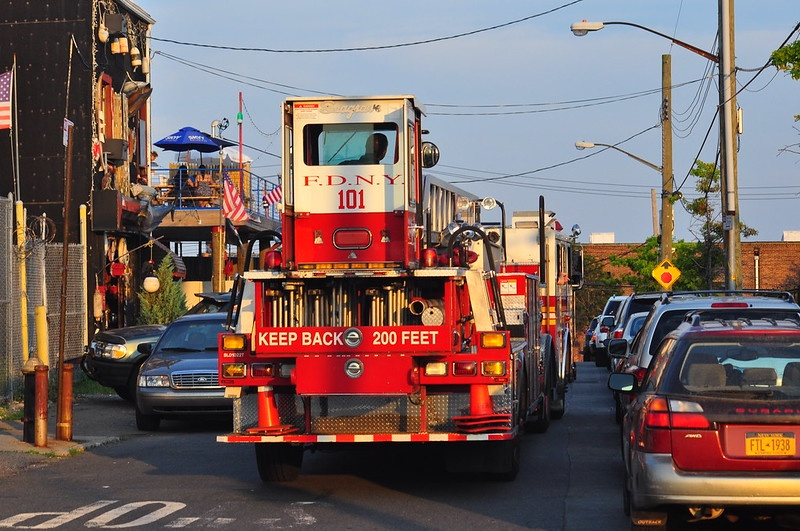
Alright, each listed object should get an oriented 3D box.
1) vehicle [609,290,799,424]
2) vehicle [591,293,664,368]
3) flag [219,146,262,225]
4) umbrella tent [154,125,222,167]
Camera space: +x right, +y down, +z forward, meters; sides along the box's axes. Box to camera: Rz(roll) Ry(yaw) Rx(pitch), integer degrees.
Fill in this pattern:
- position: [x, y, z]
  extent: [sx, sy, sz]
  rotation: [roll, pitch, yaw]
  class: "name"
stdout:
- position: [5.260, 1.464, 29.502]
  extent: [2.115, 1.674, 3.550]
  rotation: [-1, 2, 8]
  class: "vehicle"
- position: [5.667, 1.353, 40.192]
  extent: [1.298, 1.119, 2.684]
  rotation: [0, 1, 4]
  class: "vehicle"
- position: [-5.231, -2.518, 54.448]
  extent: [1.493, 1.174, 2.648]
  rotation: [11, 5, -10]
  class: "flag"
- position: [-6.485, -3.921, 51.342]
  extent: [1.901, 0.798, 2.449]
  rotation: [0, 1, -7]
  class: "umbrella tent"
